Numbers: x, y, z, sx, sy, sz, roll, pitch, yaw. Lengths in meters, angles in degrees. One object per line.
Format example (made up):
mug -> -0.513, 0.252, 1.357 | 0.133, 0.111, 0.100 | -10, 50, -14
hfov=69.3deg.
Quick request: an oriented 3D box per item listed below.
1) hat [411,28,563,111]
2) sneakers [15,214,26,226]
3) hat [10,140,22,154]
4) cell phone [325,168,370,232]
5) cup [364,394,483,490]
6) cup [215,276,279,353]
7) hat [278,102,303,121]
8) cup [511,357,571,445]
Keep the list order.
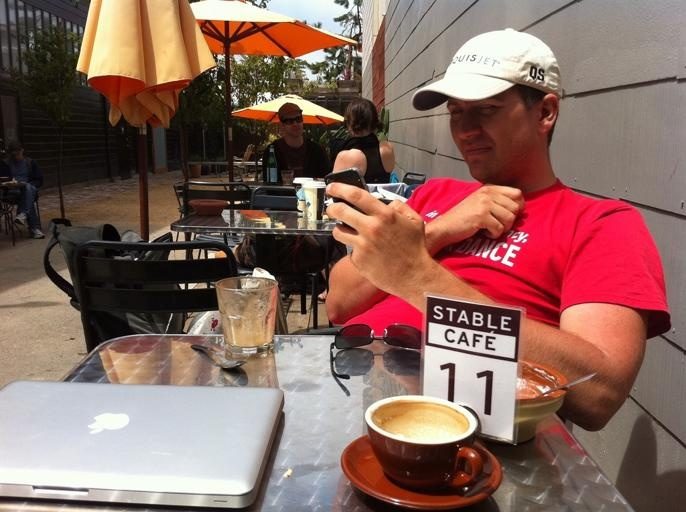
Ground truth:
hat -> 0.502, -0.595, 1.779 | 0.422, 0.266, 0.320 | 7, 8, -12
sneakers -> -5.590, -0.626, 8.658 | 0.120, 0.164, 0.316 | 10, -15, -25
hat -> -6.304, -2.092, 9.581 | 0.204, 0.287, 0.280 | -1, 11, -6
cell phone -> 0.007, -0.178, 1.476 | 0.124, 0.164, 0.322 | 3, 10, -2
cup -> 0.128, 0.316, 0.833 | 0.185, 0.109, 0.135 | 5, 10, 2
cup -> -0.251, 0.149, 1.425 | 0.185, 0.217, 0.182 | 0, 14, 0
hat -> -0.676, -1.852, 6.410 | 0.283, 0.231, 0.255 | 3, 10, -9
cup -> 0.399, 0.295, 1.004 | 0.088, 0.149, 0.193 | 8, 10, 23
